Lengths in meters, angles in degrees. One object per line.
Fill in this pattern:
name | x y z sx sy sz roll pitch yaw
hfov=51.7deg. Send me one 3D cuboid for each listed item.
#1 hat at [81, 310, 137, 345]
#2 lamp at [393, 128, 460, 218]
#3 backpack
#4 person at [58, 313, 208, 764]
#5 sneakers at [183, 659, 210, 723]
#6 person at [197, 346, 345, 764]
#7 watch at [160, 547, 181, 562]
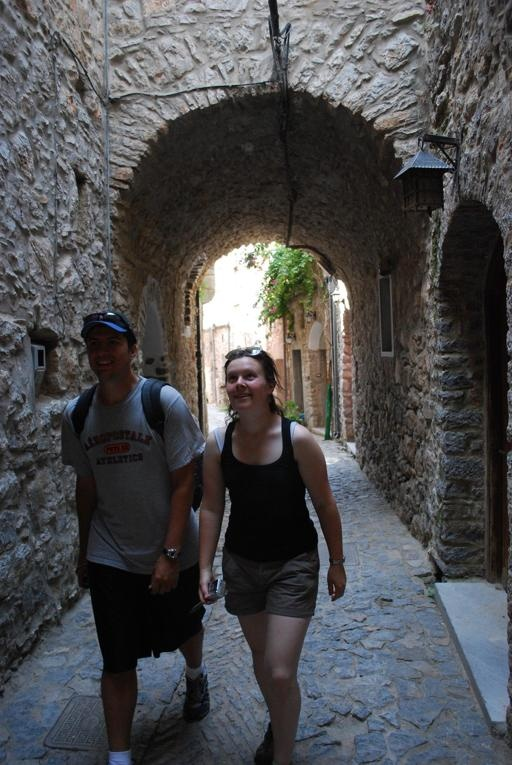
hat | -0.391 -0.155 1.434 0.082 0.057 0.126 -3 -28 4
lamp | 0.895 -1.069 2.690 0.326 0.417 0.283 4 -2 -32
backpack | -0.396 0.097 1.607 0.300 0.591 0.332 -9 7 -27
person | -0.333 0.397 1.525 0.451 1.138 0.447 2 -7 -22
sneakers | -0.199 1.056 1.804 0.068 0.226 0.088 -3 0 4
person | 0.032 0.421 1.359 0.274 1.041 0.353 5 -8 -40
watch | -0.221 0.440 1.361 0.035 0.043 0.037 9 -6 -26
